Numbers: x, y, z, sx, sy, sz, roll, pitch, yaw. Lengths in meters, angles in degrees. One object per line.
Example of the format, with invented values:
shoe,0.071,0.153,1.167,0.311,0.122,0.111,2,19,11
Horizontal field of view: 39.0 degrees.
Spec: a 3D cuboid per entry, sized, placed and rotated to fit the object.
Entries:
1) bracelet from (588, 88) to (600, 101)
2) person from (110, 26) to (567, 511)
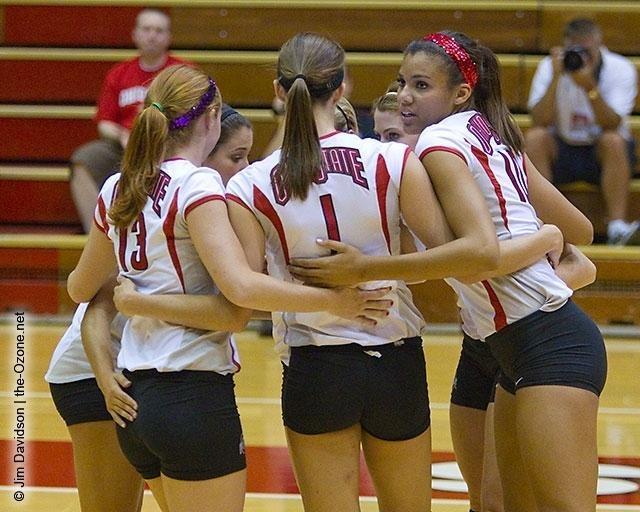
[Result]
bracelet,2.058,-1.217,6.827,0.115,0.098,0.025,-17,9,-5
person,0.080,0.067,3.201,1.086,1.688,0.409,-5,6,-6
